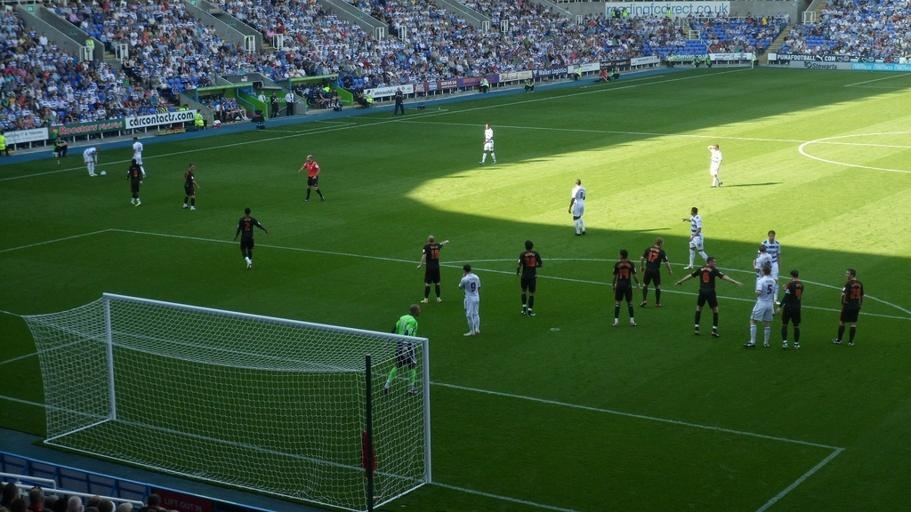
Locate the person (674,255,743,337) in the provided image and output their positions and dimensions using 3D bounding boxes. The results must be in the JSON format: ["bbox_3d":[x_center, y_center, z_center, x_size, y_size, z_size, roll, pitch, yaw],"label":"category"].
[{"bbox_3d":[10.963,1.649,52.035,1.240,3.309,1.578,1,20,10],"label":"person"}]

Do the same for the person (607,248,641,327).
[{"bbox_3d":[7.411,1.252,52.737,1.014,3.369,1.496,0,20,7],"label":"person"}]

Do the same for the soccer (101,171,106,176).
[{"bbox_3d":[-21.257,-4.887,72.517,0.359,0.197,0.310,-2,7,-2],"label":"soccer"}]
